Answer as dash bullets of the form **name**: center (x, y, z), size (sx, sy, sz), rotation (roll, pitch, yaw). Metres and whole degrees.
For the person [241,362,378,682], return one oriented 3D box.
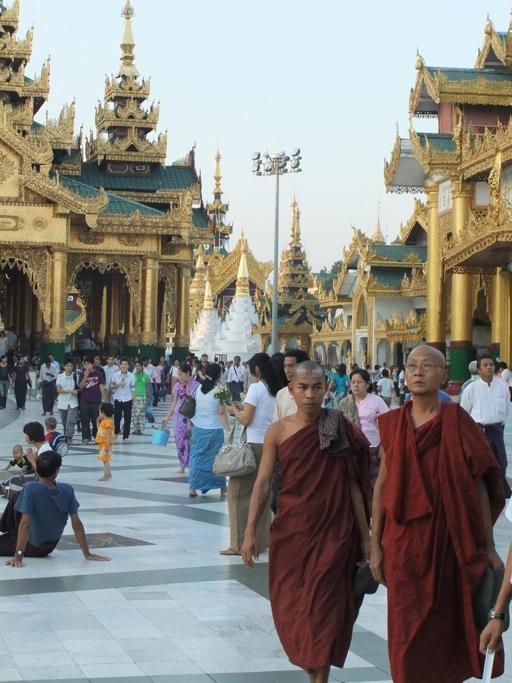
- **person**: center (0.250, 0.795, 3.901), size (0.513, 1.411, 0.681), rotation (1, -1, -23)

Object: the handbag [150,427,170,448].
- **handbag**: center (-1.531, 1.599, 15.131), size (0.323, 0.324, 0.346), rotation (11, -2, -12)

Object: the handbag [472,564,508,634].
- **handbag**: center (0.836, 0.944, 3.398), size (0.137, 0.228, 0.212), rotation (2, -13, 4)

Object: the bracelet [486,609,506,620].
- **bracelet**: center (0.766, 0.864, 2.925), size (0.036, 0.041, 0.040), rotation (2, -7, 6)

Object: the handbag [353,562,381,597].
- **handbag**: center (0.468, 1.024, 3.966), size (0.091, 0.175, 0.165), rotation (1, 7, 6)
